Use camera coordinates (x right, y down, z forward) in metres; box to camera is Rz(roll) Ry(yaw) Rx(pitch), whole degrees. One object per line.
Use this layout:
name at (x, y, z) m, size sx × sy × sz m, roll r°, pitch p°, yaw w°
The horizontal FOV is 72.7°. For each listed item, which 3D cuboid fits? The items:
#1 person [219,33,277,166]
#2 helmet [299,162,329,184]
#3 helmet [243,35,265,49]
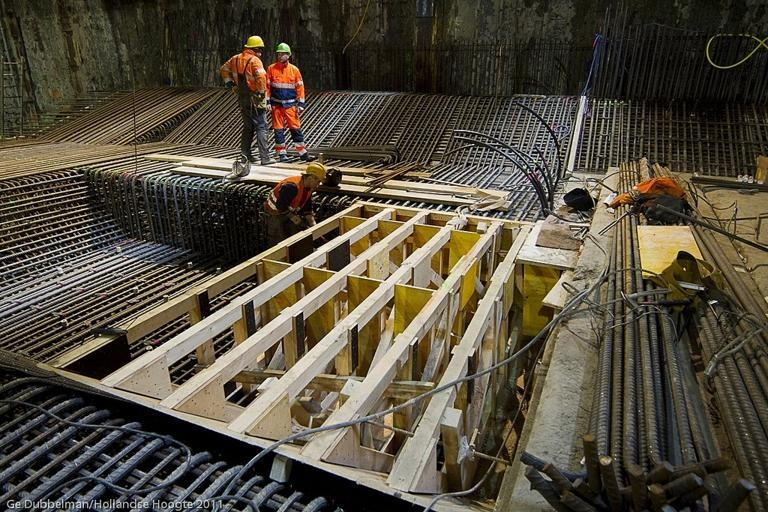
person at (-2.301, -2.628, 8.898) m, size 0.712 × 2.038 × 1.010 m, roll -9°, pitch 25°, yaw -24°
helmet at (-0.906, -1.090, 6.980) m, size 0.387 × 0.247 × 0.270 m, roll 21°, pitch 36°, yaw -8°
helmet at (-2.162, -3.563, 8.733) m, size 0.256 × 0.177 × 0.339 m, roll 0°, pitch 23°, yaw -7°
